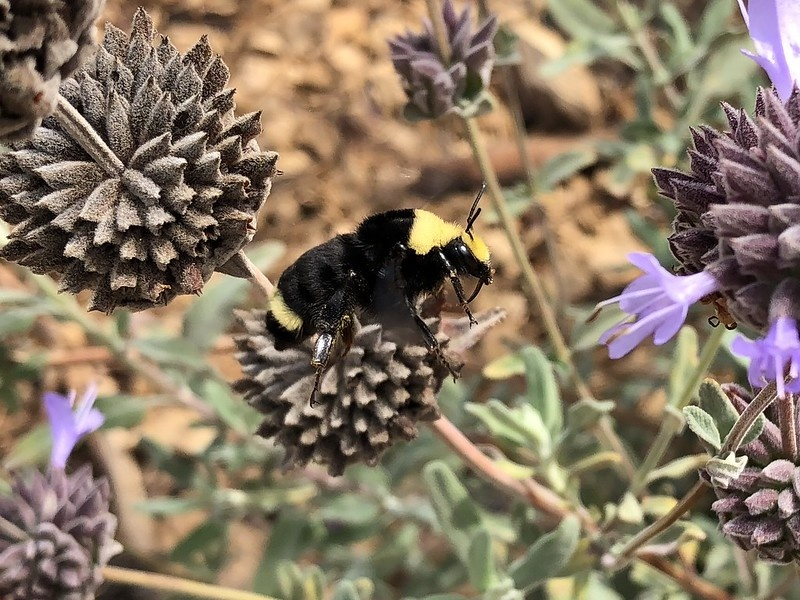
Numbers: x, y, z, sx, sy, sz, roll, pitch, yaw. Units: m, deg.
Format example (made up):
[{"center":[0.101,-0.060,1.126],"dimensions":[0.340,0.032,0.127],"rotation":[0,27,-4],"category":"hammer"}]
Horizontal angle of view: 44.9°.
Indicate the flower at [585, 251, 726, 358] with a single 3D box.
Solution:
[{"center":[0.721,-0.007,2.760],"dimensions":[0.406,0.267,0.197],"rotation":[-28,102,11],"category":"flower"}]
